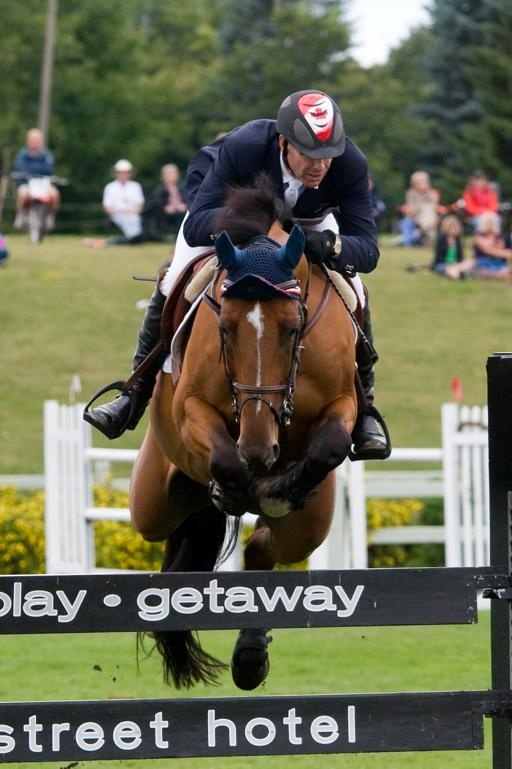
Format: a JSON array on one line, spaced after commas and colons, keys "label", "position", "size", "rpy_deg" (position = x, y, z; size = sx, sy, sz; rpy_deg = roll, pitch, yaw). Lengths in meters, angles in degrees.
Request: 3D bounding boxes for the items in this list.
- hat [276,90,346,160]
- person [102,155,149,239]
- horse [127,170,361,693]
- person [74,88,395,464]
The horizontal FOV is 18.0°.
[{"label": "hat", "position": [0.184, -0.944, 5.856], "size": [0.250, 0.278, 0.281], "rpy_deg": [1, 2, 8]}, {"label": "person", "position": [-1.228, -1.555, 14.667], "size": [0.364, 0.932, 1.069], "rpy_deg": [-3, 2, -5]}, {"label": "horse", "position": [-0.119, 0.410, 6.037], "size": [0.650, 2.358, 1.059], "rpy_deg": [7, 44, -5]}, {"label": "person", "position": [0.013, -0.439, 6.132], "size": [1.000, 1.439, 1.225], "rpy_deg": [-6, 14, -39]}]
